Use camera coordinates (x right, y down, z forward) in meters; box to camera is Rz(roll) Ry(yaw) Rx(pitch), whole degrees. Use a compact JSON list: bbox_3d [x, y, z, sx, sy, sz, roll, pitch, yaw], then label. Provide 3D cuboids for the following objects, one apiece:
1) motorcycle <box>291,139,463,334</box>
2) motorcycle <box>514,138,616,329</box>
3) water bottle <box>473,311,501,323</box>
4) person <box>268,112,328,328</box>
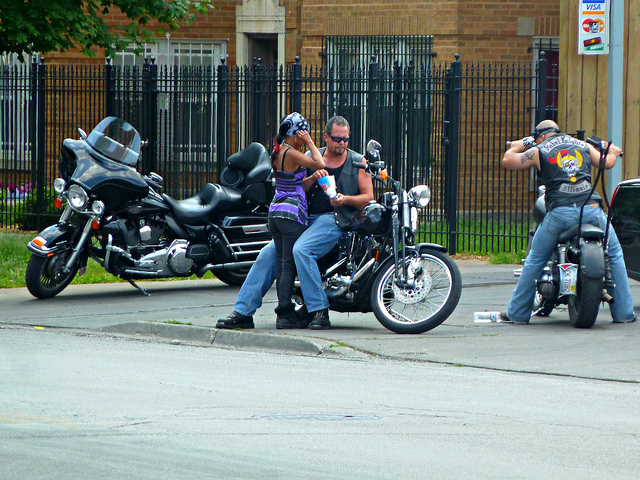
[{"bbox_3d":[0.506,0.019,12.102,2.592,2.134,1.000,-1,-17,45],"label":"motorcycle"},{"bbox_3d":[2.832,-0.075,11.874,0.936,2.065,1.101,1,6,13],"label":"motorcycle"},{"bbox_3d":[1.905,0.862,12.137,0.231,0.063,0.129,0,5,0],"label":"water bottle"},{"bbox_3d":[-0.257,-0.218,11.666,0.570,2.330,0.418,-1,6,-4],"label":"person"}]
